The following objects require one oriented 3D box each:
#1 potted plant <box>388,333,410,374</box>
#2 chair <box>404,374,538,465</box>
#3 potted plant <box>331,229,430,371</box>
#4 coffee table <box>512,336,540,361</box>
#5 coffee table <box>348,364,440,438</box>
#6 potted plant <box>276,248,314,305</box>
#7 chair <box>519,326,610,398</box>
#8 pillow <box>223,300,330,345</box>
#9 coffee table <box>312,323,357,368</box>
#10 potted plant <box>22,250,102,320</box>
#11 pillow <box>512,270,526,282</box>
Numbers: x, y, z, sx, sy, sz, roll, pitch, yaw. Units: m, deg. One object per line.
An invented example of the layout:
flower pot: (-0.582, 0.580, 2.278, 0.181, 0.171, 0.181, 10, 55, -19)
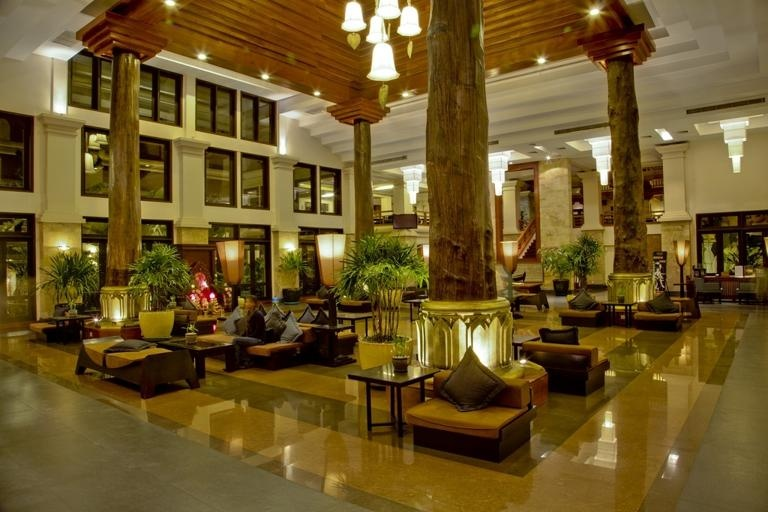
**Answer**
potted plant: (0.256, 1.391, 7.240, 0.327, 0.356, 0.306, 0, -18, 15)
chair: (1.041, 1.965, 6.667, 1.339, 0.772, 1.134, -3, 0, 33)
potted plant: (-0.055, 0.664, 8.456, 1.114, 1.926, 1.284, -10, 14, -39)
coffee table: (2.310, 1.489, 8.864, 0.437, 0.398, 0.444, -2, -2, 42)
coffee table: (0.151, 1.783, 7.029, 0.926, 0.716, 0.929, -2, -3, 37)
potted plant: (-3.474, 0.645, 19.972, 1.032, 1.797, 1.806, -3, 11, -8)
chair: (2.868, 1.501, 8.294, 1.093, 0.900, 1.089, 0, 1, 37)
pillow: (-2.309, 1.291, 9.856, 1.116, 0.308, 0.847, 12, 31, 21)
coffee table: (-1.008, 1.623, 9.813, 0.725, 0.846, 0.947, 0, 0, 39)
potted plant: (-7.965, 0.688, 13.502, 1.455, 1.455, 1.372, 5, -4, -17)
pillow: (5.233, 0.776, 20.838, 0.459, 0.540, 0.522, -6, -15, 26)
